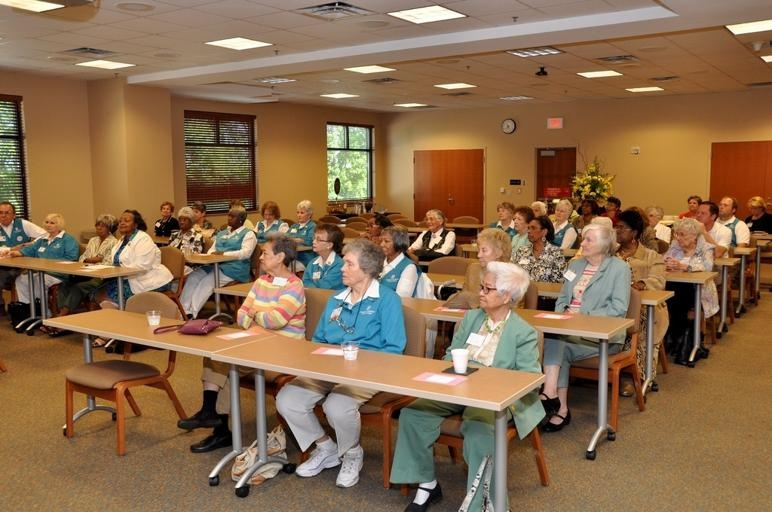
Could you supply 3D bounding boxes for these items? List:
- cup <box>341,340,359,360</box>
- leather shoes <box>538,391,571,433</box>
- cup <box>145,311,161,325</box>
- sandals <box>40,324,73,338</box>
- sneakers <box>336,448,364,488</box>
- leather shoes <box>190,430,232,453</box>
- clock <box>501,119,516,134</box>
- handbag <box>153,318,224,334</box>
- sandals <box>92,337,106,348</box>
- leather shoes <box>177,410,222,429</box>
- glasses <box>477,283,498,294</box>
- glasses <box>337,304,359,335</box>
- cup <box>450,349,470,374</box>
[{"bbox_3d":[-0.227,0.596,3.398,0.099,0.072,0.100,0,-4,0],"label":"cup"},{"bbox_3d":[1.441,1.331,4.538,0.145,0.170,0.452,-4,-6,38],"label":"leather shoes"},{"bbox_3d":[-1.713,0.464,4.057,0.106,0.071,0.100,0,-5,0],"label":"cup"},{"bbox_3d":[-4.290,0.942,7.124,0.569,0.143,0.291,2,1,43],"label":"sandals"},{"bbox_3d":[-0.258,1.449,3.745,0.129,0.133,0.323,-1,1,11],"label":"sneakers"},{"bbox_3d":[-1.326,1.422,4.186,0.312,0.108,0.143,0,1,-22],"label":"leather shoes"},{"bbox_3d":[3.148,-3.266,14.026,0.414,0.412,0.104,7,13,33],"label":"clock"},{"bbox_3d":[-1.464,0.518,4.023,0.272,0.048,0.205,1,2,9],"label":"handbag"},{"bbox_3d":[-3.430,1.035,6.573,0.093,0.059,0.226,0,-3,-1],"label":"sandals"},{"bbox_3d":[-1.414,1.296,4.311,0.402,0.150,0.138,1,-6,4],"label":"leather shoes"},{"bbox_3d":[0.668,0.213,3.585,0.144,0.040,0.138,4,-2,-36],"label":"glasses"},{"bbox_3d":[-0.268,0.443,3.852,0.163,0.169,0.071,14,-8,24],"label":"glasses"},{"bbox_3d":[0.438,0.607,3.234,0.088,0.149,0.149,1,10,6],"label":"cup"}]
